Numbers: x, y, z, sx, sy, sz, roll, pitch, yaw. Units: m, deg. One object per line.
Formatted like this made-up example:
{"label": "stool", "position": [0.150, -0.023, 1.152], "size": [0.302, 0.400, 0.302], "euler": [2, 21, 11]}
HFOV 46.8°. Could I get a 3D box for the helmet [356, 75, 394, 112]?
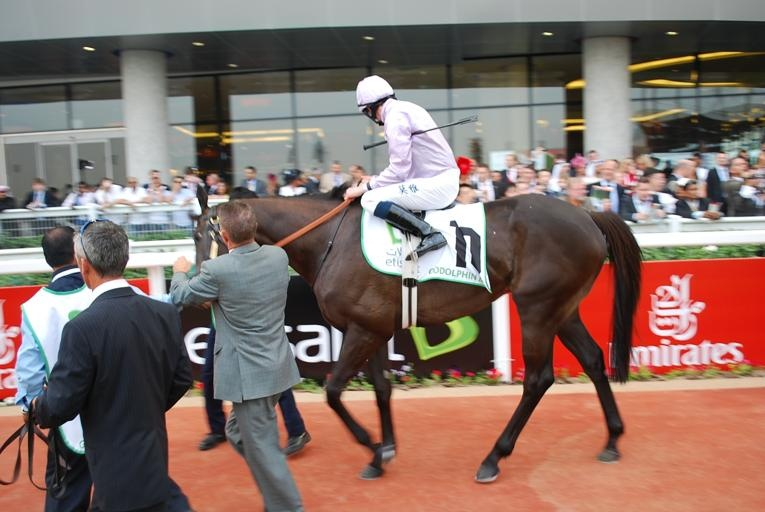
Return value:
{"label": "helmet", "position": [-0.070, -1.442, 7.744], "size": [0.291, 0.250, 0.327], "euler": [-23, 25, -4]}
